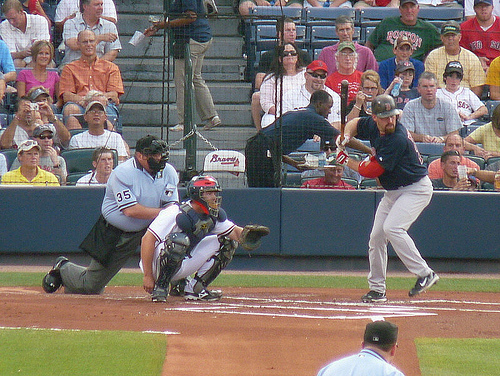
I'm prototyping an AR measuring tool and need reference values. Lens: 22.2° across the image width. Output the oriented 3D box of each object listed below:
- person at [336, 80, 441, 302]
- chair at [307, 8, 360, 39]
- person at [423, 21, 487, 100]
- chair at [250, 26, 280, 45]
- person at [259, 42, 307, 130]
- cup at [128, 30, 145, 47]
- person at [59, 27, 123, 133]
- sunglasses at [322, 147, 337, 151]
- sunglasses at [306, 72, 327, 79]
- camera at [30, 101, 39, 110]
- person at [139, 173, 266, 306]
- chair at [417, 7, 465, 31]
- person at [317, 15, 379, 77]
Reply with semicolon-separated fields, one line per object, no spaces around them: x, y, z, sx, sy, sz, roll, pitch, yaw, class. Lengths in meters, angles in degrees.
1.723;0.070;15.640;1.259;2.489;0.744;3;13;8;person
1.355;-2.664;20.589;0.714;0.406;0.265;0;-2;-1;chair
3.171;-1.973;19.788;0.960;1.320;0.768;1;8;11;person
0.235;-2.257;18.682;0.410;0.266;0.394;1;2;-1;chair
0.460;-1.494;18.093;0.624;1.181;1.180;7;14;25;person
-1.595;-2.144;18.102;0.176;0.188;0.340;1;13;-1;cup
-2.364;-1.492;19.235;0.920;1.844;1.106;-3;11;-22;person
1.096;-0.561;17.534;0.188;0.053;0.063;1;13;2;sunglasses
0.961;-1.628;18.132;0.305;0.100;0.093;-3;14;-18;sunglasses
-3.061;-1.182;18.121;0.113;0.106;0.209;-1;13;-8;camera
-0.567;0.582;15.462;1.563;1.430;1.076;3;-4;-9;person
3.208;-2.899;21.201;0.793;0.366;0.558;-1;14;-10;chair
1.517;-2.179;19.670;1.280;1.267;0.421;-1;-10;2;person
